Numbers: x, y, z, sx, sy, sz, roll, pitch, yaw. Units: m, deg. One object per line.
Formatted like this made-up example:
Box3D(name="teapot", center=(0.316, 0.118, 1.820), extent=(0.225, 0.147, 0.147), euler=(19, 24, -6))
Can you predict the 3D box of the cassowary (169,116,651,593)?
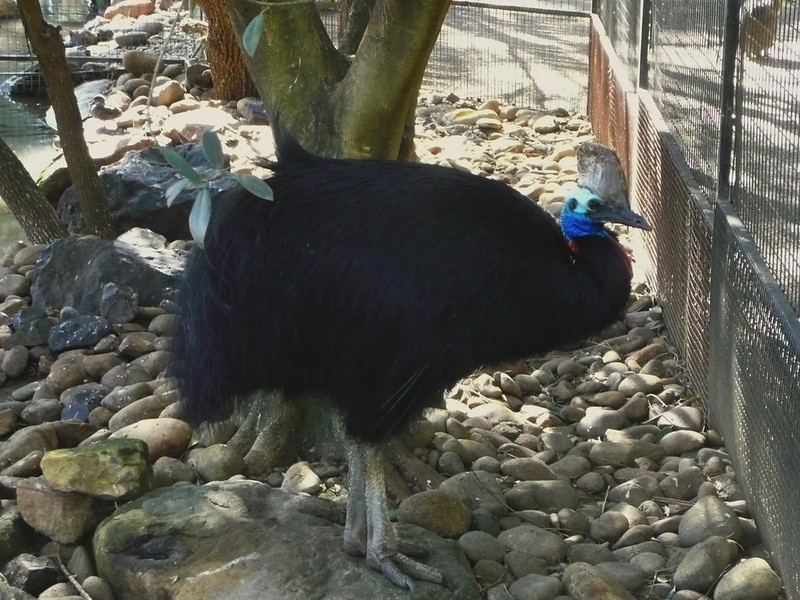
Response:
Box3D(name="cassowary", center=(0.083, 0.256, 3.433), extent=(1.675, 1.783, 0.912), euler=(1, 4, 1))
